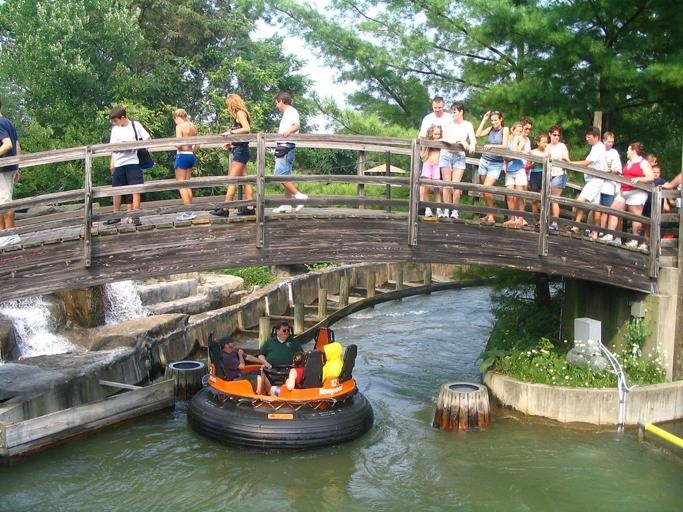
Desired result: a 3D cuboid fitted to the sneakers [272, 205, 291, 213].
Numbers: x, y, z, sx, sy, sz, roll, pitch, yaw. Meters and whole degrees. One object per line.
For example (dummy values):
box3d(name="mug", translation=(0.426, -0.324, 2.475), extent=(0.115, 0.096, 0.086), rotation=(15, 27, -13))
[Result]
box3d(name="sneakers", translation=(-1.003, -0.815, 13.028), extent=(0.357, 0.124, 0.124), rotation=(1, 5, 3))

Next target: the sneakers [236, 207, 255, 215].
box3d(name="sneakers", translation=(-1.645, -0.773, 12.984), extent=(0.413, 0.153, 0.140), rotation=(2, 1, -7))

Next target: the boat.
box3d(name="boat", translation=(-1.015, 2.883, 13.553), extent=(1.963, 0.566, 1.801), rotation=(0, 0, -16))

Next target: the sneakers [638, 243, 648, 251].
box3d(name="sneakers", translation=(6.114, -0.190, 15.211), extent=(0.228, 0.086, 0.213), rotation=(-8, 4, -12))

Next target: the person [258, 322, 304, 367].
box3d(name="person", translation=(-1.148, 1.709, 14.107), extent=(1.201, 0.994, 0.694), rotation=(2, -8, -12))

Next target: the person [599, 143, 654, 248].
box3d(name="person", translation=(5.796, -1.227, 15.172), extent=(0.945, 2.146, 1.567), rotation=(1, 4, 22))

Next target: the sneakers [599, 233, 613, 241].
box3d(name="sneakers", translation=(5.300, -0.361, 14.996), extent=(0.151, 0.179, 0.477), rotation=(0, 14, 11))

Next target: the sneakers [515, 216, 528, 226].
box3d(name="sneakers", translation=(3.505, -0.688, 14.624), extent=(0.254, 0.224, 0.127), rotation=(25, -36, -32))

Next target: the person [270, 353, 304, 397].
box3d(name="person", translation=(-0.858, 2.149, 13.561), extent=(0.615, 0.709, 0.769), rotation=(9, -6, -35))

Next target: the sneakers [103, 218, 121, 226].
box3d(name="sneakers", translation=(-3.785, -0.572, 12.526), extent=(0.174, 0.080, 0.358), rotation=(-4, 11, 30))

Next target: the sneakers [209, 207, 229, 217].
box3d(name="sneakers", translation=(-2.042, -0.737, 12.767), extent=(0.380, 0.149, 0.125), rotation=(4, 9, 26))

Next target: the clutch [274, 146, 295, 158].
box3d(name="clutch", translation=(-0.970, -1.799, 12.984), extent=(0.335, 0.204, 0.203), rotation=(0, 4, -1))
